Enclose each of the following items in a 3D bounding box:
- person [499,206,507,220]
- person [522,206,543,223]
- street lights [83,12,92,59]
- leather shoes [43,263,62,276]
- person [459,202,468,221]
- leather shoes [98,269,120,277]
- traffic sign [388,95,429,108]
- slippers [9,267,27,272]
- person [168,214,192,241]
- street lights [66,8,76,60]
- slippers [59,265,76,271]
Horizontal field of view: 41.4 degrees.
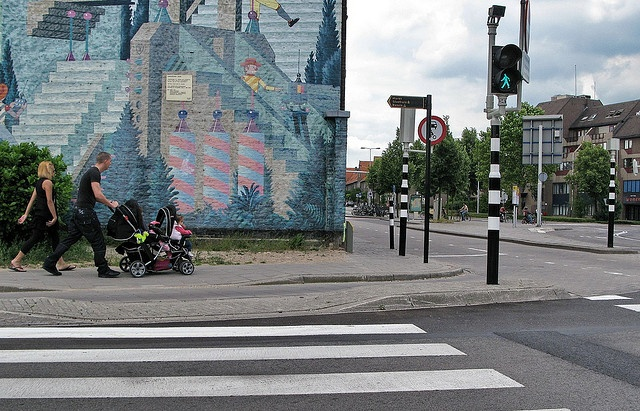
[{"bbox_3d":[13.367,0.643,62.729,0.350,1.081,2.252,1,1,14],"label":"person"},{"bbox_3d":[16.302,0.729,65.870,1.955,1.173,1.186,4,11,-15],"label":"person"},{"bbox_3d":[-7.765,-5.659,28.364,0.302,1.633,0.191,0,1,-5],"label":"street lights"},{"bbox_3d":[-6.824,1.650,21.518,0.257,0.197,0.612,-30,-40,21],"label":"leather shoes"},{"bbox_3d":[10.457,0.606,62.397,0.960,1.020,1.702,-1,-3,8],"label":"person"},{"bbox_3d":[-5.387,1.745,21.742,0.535,0.208,0.187,-1,5,-18],"label":"leather shoes"},{"bbox_3d":[2.686,-3.191,26.464,1.179,0.413,0.749,0,1,3],"label":"traffic sign"},{"bbox_3d":[-7.755,1.652,21.825,0.285,0.071,0.148,1,3,-38],"label":"slippers"},{"bbox_3d":[-3.763,0.640,23.139,0.682,0.799,0.531,2,3,-22],"label":"person"},{"bbox_3d":[-8.314,-5.708,28.401,0.275,1.721,0.210,0,1,-4],"label":"street lights"},{"bbox_3d":[-6.614,1.663,22.317,0.349,0.096,0.134,-3,6,-25],"label":"slippers"}]
